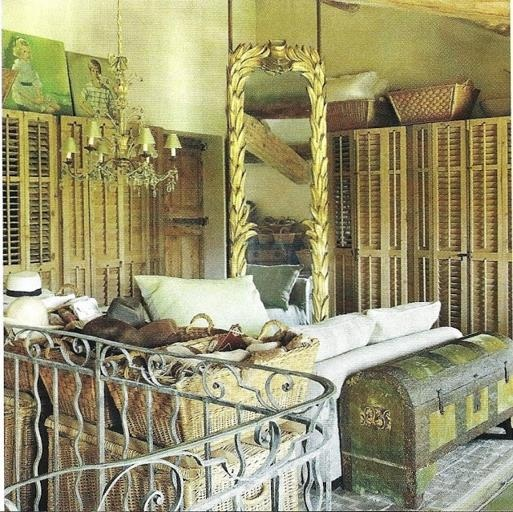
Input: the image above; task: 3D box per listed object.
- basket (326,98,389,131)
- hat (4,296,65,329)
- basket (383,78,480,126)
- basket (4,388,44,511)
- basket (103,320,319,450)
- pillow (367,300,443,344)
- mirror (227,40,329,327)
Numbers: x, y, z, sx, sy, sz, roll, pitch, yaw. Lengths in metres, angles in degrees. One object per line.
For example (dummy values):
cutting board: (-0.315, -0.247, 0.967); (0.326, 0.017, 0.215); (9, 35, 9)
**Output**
basket: (0.916, -1.444, 6.458); (0.634, 0.207, 0.707); (-5, 8, 12)
hat: (-0.800, 0.211, 2.211); (0.164, 0.052, 0.161); (1, 6, -28)
basket: (1.752, -1.393, 5.888); (0.589, 0.258, 0.832); (8, 2, -44)
basket: (-0.873, 0.738, 2.312); (0.127, 0.548, 0.431); (-3, 3, -20)
basket: (-0.118, 0.401, 1.993); (0.382, 0.167, 0.538); (-2, -2, 37)
pillow: (0.794, 0.349, 3.251); (0.533, 0.232, 0.115); (-6, 26, -33)
mirror: (0.149, -0.465, 4.177); (0.679, 1.852, 0.267); (-1, 3, -2)
